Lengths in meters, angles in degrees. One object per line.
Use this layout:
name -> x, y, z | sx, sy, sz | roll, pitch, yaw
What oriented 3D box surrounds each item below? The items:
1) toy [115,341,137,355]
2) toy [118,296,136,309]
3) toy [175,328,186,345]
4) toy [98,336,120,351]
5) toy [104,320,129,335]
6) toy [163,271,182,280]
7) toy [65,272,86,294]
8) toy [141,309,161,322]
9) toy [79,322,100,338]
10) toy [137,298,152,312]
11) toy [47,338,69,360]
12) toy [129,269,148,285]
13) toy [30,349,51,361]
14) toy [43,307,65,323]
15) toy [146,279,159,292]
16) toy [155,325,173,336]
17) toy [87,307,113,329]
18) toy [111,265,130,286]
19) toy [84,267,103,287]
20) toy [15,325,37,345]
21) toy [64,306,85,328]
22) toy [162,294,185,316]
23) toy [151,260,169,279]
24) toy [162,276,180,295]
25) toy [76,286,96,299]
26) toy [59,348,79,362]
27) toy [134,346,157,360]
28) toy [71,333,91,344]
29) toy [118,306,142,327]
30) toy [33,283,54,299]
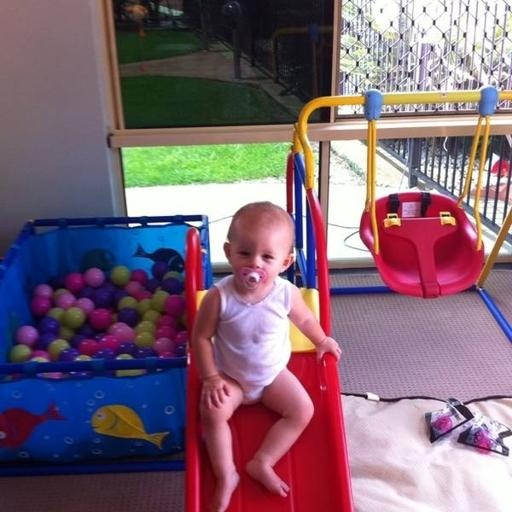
toy -> -0.444, 0.321, 1.738 | 0.048, 0.053, 0.044 | 13, 47, -6
toy -> -0.523, 0.193, 2.049 | 0.055, 0.062, 0.053 | 1, 50, 1
toy -> -0.270, 0.304, 1.841 | 0.044, 0.042, 0.050 | 2, -5, 4
toy -> -0.530, 0.315, 1.825 | 0.052, 0.051, 0.059 | 10, 10, -38
toy -> -0.523, 0.269, 1.889 | 0.062, 0.051, 0.052 | -5, 1, 26
toy -> -0.360, 0.084, 2.157 | 0.047, 0.046, 0.055 | -20, 6, 12
toy -> -0.762, 0.113, 2.112 | 0.085, 0.095, 0.082 | 3, 9, 17
toy -> -0.418, 0.239, 2.002 | 0.071, 0.031, 0.096 | -2, 26, -8
toy -> -0.646, 0.291, 1.978 | 0.062, 0.060, 0.072 | 5, 8, -4
toy -> -0.456, 0.203, 2.044 | 0.049, 0.058, 0.049 | 2, 57, 49
toy -> -0.706, 0.327, 1.787 | 0.070, 0.079, 0.068 | -4, 21, -18
toy -> -0.511, 0.094, 2.195 | 0.065, 0.074, 0.063 | -2, -5, -23
toy -> -0.742, 0.344, 1.734 | 0.041, 0.048, 0.040 | 16, 59, 3
toy -> -0.779, 0.230, 1.970 | 0.062, 0.060, 0.069 | 25, 5, -18
toy -> -0.447, 0.127, 2.158 | 0.049, 0.056, 0.048 | -2, -4, -18
toy -> -0.342, 0.281, 1.887 | 0.068, 0.028, 0.079 | -3, 26, -11
toy -> -0.612, 0.246, 2.010 | 0.082, 0.078, 0.093 | -7, 0, 1
toy -> -0.582, 0.088, 2.160 | 0.080, 0.089, 0.078 | 0, 1, 7
toy -> -0.684, 0.095, 2.135 | 0.075, 0.074, 0.088 | -1, -1, -7
toy -> -0.838, 0.295, 1.846 | 0.069, 0.051, 0.085 | 3, 26, 2
toy -> -0.713, 0.246, 1.974 | 0.076, 0.074, 0.066 | 3, 27, 3
toy -> -0.322, 0.201, 2.031 | 0.079, 0.092, 0.076 | 9, 58, 4
toy -> -0.420, 0.065, 2.245 | 0.072, 0.082, 0.070 | 7, 14, -5
toy -> -0.350, 0.127, 2.131 | 0.080, 0.065, 0.066 | 12, 17, 10
toy -> -0.701, 0.156, 2.087 | 0.053, 0.052, 0.063 | 23, -7, 21
toy -> -0.627, 0.327, 1.703 | 0.046, 0.046, 0.054 | 17, 13, 30
toy -> -0.365, 0.323, 1.660 | 0.049, 0.047, 0.057 | 9, 17, 5
toy -> -0.667, 0.319, 1.892 | 0.037, 0.042, 0.036 | -17, 61, -3
toy -> -0.497, 0.239, 2.027 | 0.074, 0.073, 0.088 | -40, -11, -9
toy -> -0.860, 0.146, 2.039 | 0.054, 0.052, 0.062 | 7, -8, -31
